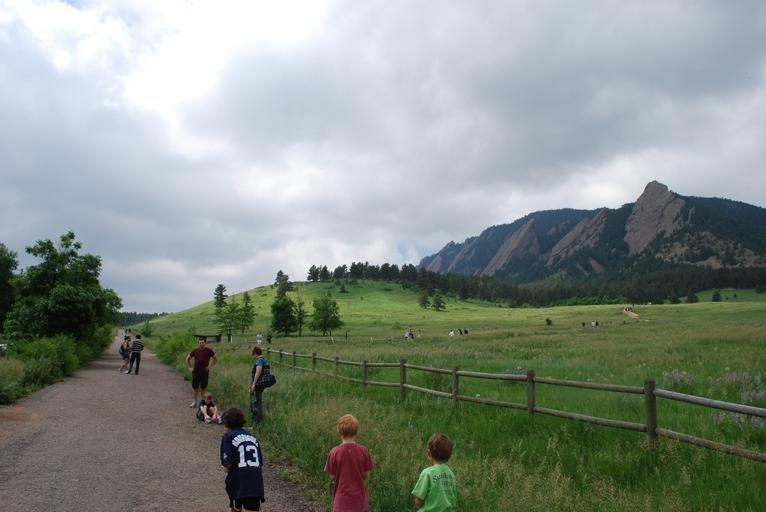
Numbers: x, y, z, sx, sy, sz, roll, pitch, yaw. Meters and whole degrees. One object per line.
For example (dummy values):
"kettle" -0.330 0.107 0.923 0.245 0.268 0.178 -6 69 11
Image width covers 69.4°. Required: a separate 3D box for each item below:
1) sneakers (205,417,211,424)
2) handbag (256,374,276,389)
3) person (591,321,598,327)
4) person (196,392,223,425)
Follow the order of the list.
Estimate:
"sneakers" -6.096 5.615 19.006 0.272 0.226 0.167 -3 -4 7
"handbag" -3.986 4.274 18.620 0.575 0.268 0.418 -6 0 -21
"person" 28.289 8.977 73.059 0.787 0.824 1.001 1 -13 1
"person" -6.124 5.279 19.176 0.861 1.000 0.589 -2 -3 -4
